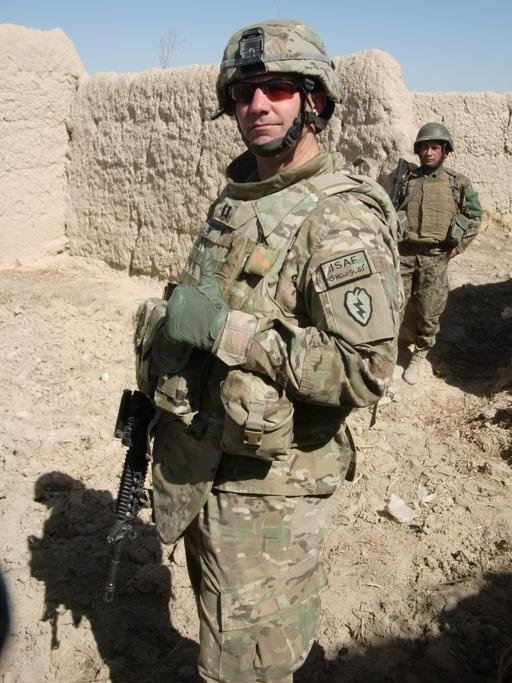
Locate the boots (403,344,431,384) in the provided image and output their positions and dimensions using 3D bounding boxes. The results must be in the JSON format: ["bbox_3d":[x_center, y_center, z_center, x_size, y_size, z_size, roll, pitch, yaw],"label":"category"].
[{"bbox_3d":[1.299,0.205,5.559,0.158,0.267,0.395,16,52,12],"label":"boots"}]

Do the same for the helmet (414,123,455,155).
[{"bbox_3d":[1.425,-1.617,5.472,0.254,0.185,0.256,4,17,3],"label":"helmet"}]

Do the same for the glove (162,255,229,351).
[{"bbox_3d":[-0.161,-0.101,1.890,0.229,0.203,0.085,20,-15,3],"label":"glove"}]
